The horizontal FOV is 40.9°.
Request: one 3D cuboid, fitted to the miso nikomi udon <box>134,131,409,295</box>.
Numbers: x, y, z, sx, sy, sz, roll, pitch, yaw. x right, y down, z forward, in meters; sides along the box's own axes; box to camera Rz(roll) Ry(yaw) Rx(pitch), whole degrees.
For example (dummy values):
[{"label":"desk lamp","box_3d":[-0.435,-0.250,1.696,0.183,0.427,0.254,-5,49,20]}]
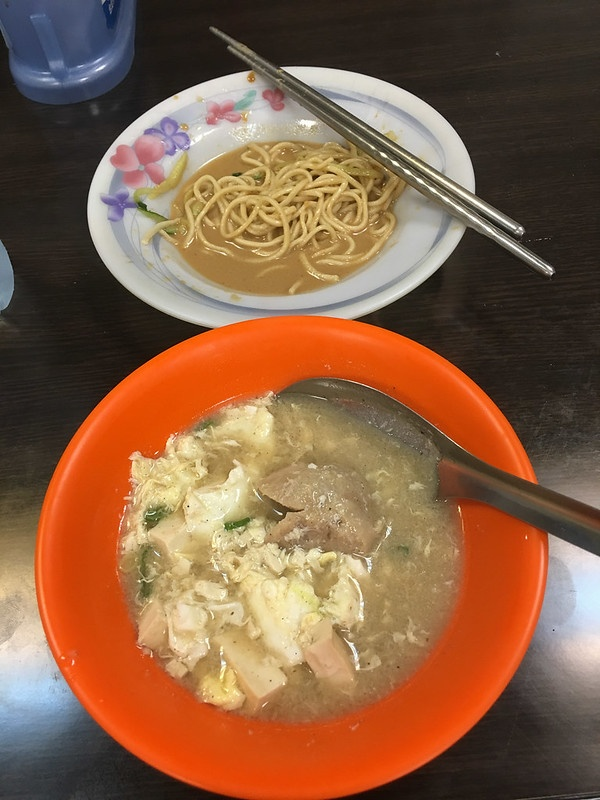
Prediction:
[{"label":"miso nikomi udon","box_3d":[-0.067,-0.516,2.243,0.583,0.117,0.568,1,41,5]}]
